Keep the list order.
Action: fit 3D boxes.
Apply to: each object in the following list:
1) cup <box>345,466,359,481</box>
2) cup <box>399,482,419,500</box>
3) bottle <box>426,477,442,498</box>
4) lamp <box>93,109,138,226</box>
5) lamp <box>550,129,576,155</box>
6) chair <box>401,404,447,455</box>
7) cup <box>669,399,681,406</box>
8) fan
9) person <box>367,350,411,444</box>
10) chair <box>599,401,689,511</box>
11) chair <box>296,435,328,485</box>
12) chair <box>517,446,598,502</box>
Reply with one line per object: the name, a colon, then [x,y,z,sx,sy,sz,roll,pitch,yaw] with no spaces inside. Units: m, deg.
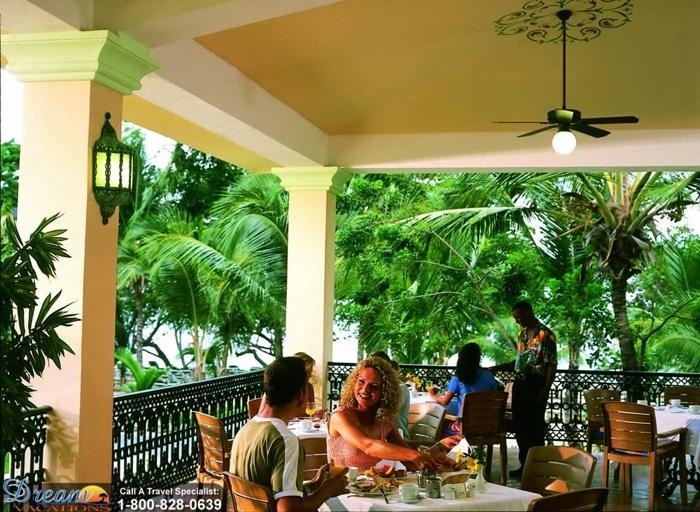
cup: [0.013,1.514,4.487,0.089,0.080,0.099,1,3,43]
cup: [0.391,1.563,4.230,0.086,0.077,0.111,-12,-21,35]
bottle: [0.559,1.555,4.280,0.136,0.142,0.081,0,-3,-1]
lamp: [-1.864,-0.700,5.010,0.267,0.886,0.286,1,-10,-7]
lamp: [2.163,-1.168,6.455,0.188,0.204,0.293,-5,-11,26]
chair: [0.910,1.851,6.926,0.415,0.649,0.465,-1,-14,17]
cup: [4.234,1.906,8.335,0.139,0.104,0.112,-2,-5,20]
fan: [2.400,-1.744,7.005,1.332,1.384,1.542,-4,-8,32]
person: [0.471,1.536,6.718,0.433,0.358,1.341,1,-40,17]
chair: [3.264,2.174,7.029,0.864,1.122,0.654,-1,-10,6]
chair: [-0.418,1.970,6.184,0.434,0.418,0.436,11,-26,-6]
chair: [1.567,1.610,4.888,0.372,0.663,0.475,-3,-21,42]
